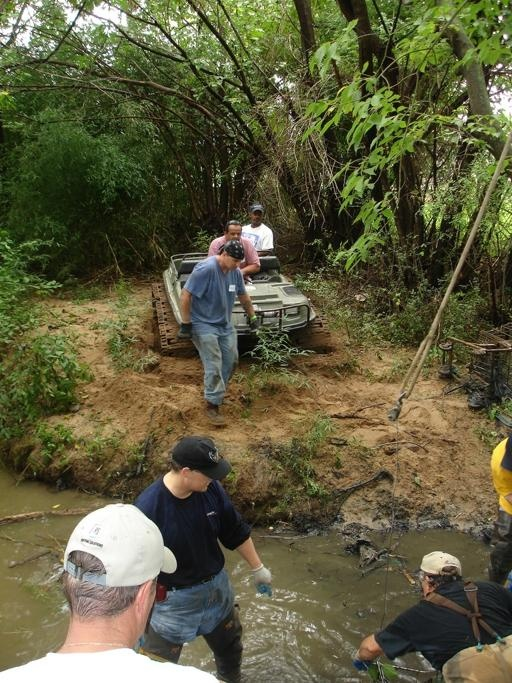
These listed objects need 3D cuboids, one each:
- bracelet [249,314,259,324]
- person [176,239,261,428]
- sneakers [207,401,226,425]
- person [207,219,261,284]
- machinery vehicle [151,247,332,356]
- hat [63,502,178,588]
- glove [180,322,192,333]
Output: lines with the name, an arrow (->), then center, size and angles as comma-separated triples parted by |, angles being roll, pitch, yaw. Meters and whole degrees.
bracelet -> -0.040, -0.248, 6.131 | 0.076, 0.114, 0.041 | 9, 25, 12
person -> -0.383, -0.155, 5.364 | 0.720, 1.624, 0.710 | -8, 12, 0
sneakers -> -0.428, 0.767, 5.676 | 0.290, 0.258, 0.132 | 4, 5, 21
person -> -0.295, -1.148, 6.751 | 0.719, 0.927, 0.596 | 6, 48, 10
machinery vehicle -> -0.402, -0.759, 7.986 | 2.237, 0.968, 3.064 | -4, 24, -16
hat -> -0.363, 0.550, 1.479 | 0.201, 0.154, 0.282 | 7, 7, 20
glove -> -0.681, -0.134, 5.162 | 0.098, 0.089, 0.092 | 1, 5, 0
